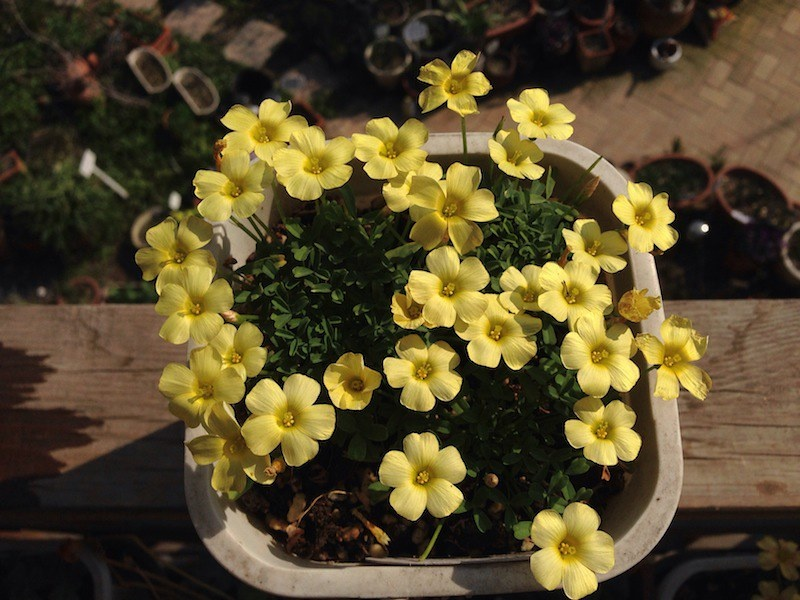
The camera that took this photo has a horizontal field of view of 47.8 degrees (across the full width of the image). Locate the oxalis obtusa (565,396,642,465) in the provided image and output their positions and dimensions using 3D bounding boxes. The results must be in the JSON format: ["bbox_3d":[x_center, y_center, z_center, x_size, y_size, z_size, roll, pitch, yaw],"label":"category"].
[{"bbox_3d":[1.131,0.743,5.101,0.377,0.139,0.381,38,73,4],"label":"oxalis obtusa"}]

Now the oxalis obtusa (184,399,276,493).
[{"bbox_3d":[-0.951,0.829,5.122,0.444,0.189,0.501,18,97,1],"label":"oxalis obtusa"}]

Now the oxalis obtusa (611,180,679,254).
[{"bbox_3d":[1.412,-0.464,5.276,0.371,0.144,0.409,-17,75,-19],"label":"oxalis obtusa"}]

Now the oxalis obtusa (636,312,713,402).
[{"bbox_3d":[1.561,0.336,5.136,0.450,0.192,0.457,-41,93,-8],"label":"oxalis obtusa"}]

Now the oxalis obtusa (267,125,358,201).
[{"bbox_3d":[-0.490,-0.743,5.336,0.455,0.570,0.433,15,84,4],"label":"oxalis obtusa"}]

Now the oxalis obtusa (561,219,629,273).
[{"bbox_3d":[1.119,-0.309,5.215,0.299,0.128,0.341,9,70,-15],"label":"oxalis obtusa"}]

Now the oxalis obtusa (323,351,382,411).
[{"bbox_3d":[-0.277,0.471,5.102,0.284,0.200,0.341,-10,94,-6],"label":"oxalis obtusa"}]

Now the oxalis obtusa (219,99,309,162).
[{"bbox_3d":[-0.795,-0.969,5.286,0.383,0.179,0.424,-15,72,3],"label":"oxalis obtusa"}]
